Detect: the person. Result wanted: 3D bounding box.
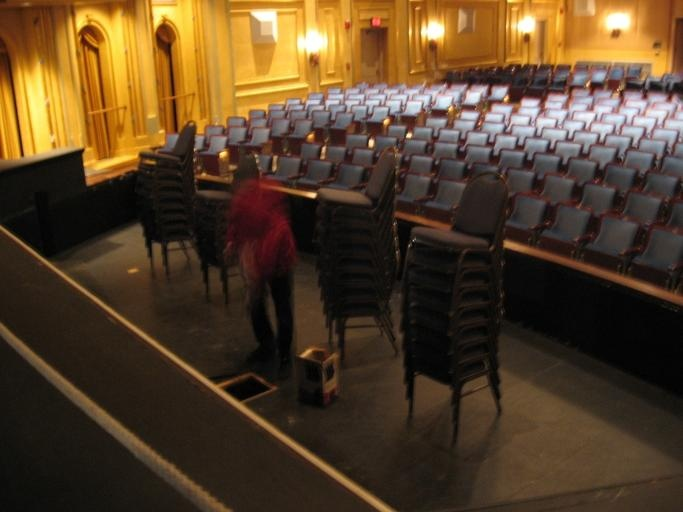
[{"bbox_3d":[-0.714,0.069,4.491,0.672,1.852,0.400,9,21,24],"label":"person"}]
